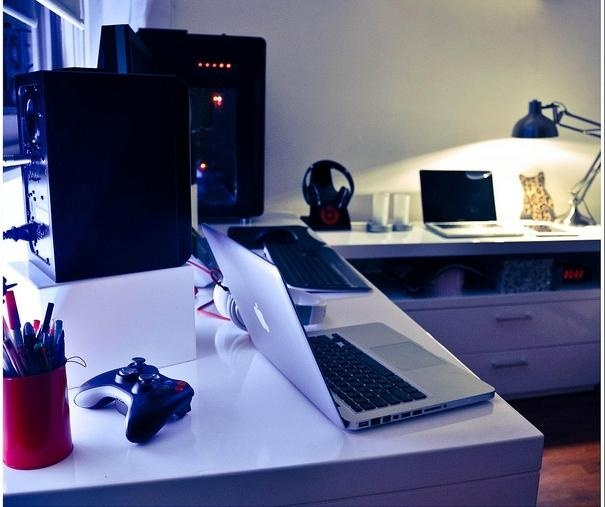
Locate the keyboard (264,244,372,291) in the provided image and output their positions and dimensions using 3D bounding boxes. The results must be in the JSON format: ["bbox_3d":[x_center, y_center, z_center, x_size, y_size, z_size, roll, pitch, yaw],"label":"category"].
[{"bbox_3d":[0.022,0.034,1.507,0.219,0.041,0.559,-2,13,-9],"label":"keyboard"}]

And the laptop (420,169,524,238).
[{"bbox_3d":[0.760,-0.241,2.353,0.373,0.261,0.353,-5,17,-21],"label":"laptop"}]

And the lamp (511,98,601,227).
[{"bbox_3d":[1.253,-0.429,2.543,0.370,0.612,0.774,7,15,29],"label":"lamp"}]

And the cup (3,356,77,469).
[{"bbox_3d":[-0.334,0.213,0.708,0.092,0.124,0.105,-2,3,-11],"label":"cup"}]

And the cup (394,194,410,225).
[{"bbox_3d":[0.442,-0.201,2.342,0.065,0.134,0.128,2,13,9],"label":"cup"}]

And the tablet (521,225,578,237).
[{"bbox_3d":[1.108,-0.100,2.350,0.173,0.019,0.240,11,9,33],"label":"tablet"}]

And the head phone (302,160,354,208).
[{"bbox_3d":[0.096,-0.296,2.230,0.189,0.205,0.191,-5,14,-18],"label":"head phone"}]

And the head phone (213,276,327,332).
[{"bbox_3d":[-0.068,0.105,1.045,0.145,0.067,0.115,3,14,-6],"label":"head phone"}]

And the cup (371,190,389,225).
[{"bbox_3d":[0.347,-0.208,2.328,0.072,0.137,0.174,2,14,8],"label":"cup"}]
